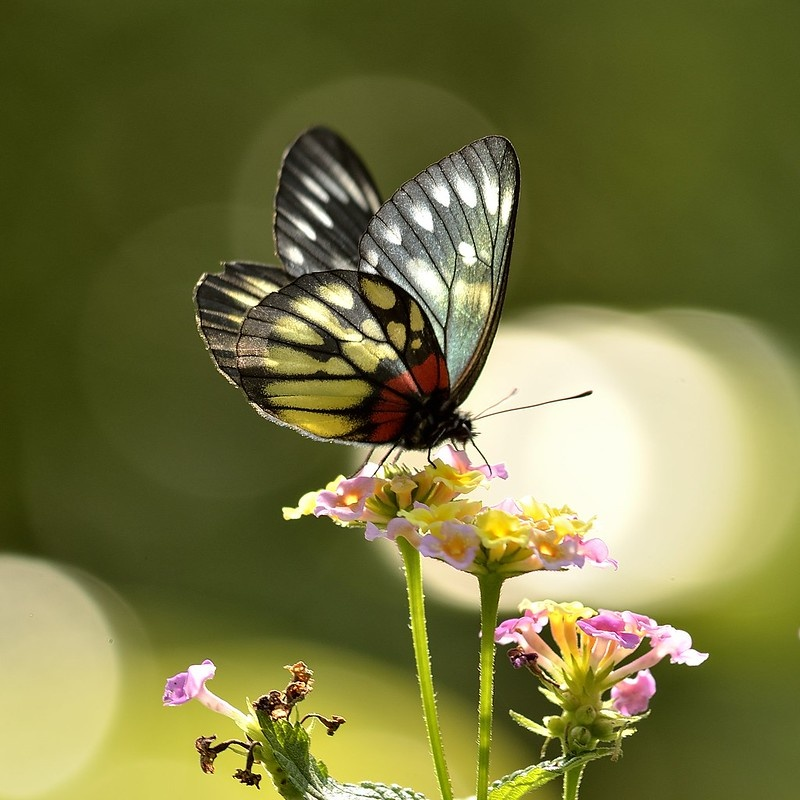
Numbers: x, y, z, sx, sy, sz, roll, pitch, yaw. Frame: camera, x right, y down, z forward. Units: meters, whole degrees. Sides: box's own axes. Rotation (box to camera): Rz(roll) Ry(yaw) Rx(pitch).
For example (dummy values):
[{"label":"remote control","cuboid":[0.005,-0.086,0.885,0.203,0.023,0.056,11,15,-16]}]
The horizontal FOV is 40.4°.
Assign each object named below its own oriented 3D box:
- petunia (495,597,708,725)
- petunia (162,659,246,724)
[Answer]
[{"label":"petunia","cuboid":[0.521,0.650,2.986,0.404,0.202,0.411,0,-10,45]},{"label":"petunia","cuboid":[-0.497,0.787,2.905,0.231,0.106,0.218,27,-16,-26]}]
